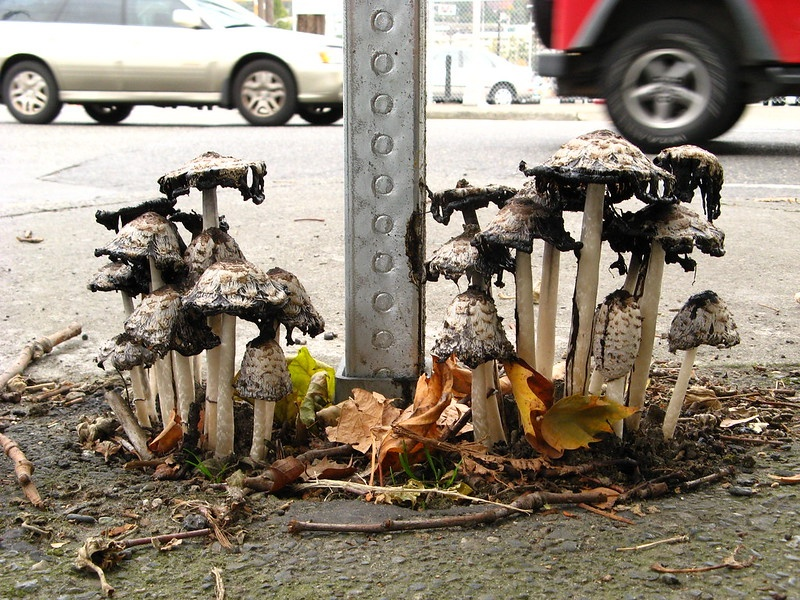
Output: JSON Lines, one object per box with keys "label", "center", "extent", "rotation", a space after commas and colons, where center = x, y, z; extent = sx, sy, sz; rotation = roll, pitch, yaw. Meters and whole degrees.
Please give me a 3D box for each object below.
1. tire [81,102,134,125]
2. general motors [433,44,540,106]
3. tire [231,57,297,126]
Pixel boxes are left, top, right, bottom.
{"label": "tire", "center": [-3.933, -2.774, 12.989], "extent": [0.498, 0.110, 0.452], "rotation": [1, -17, -11]}
{"label": "general motors", "center": [1.876, -5.633, 22.166], "extent": [2.810, 0.862, 1.176], "rotation": [7, 24, -1]}
{"label": "tire", "center": [-1.550, -2.715, 11.586], "extent": [0.937, 0.812, 0.320], "rotation": [9, 15, 25]}
